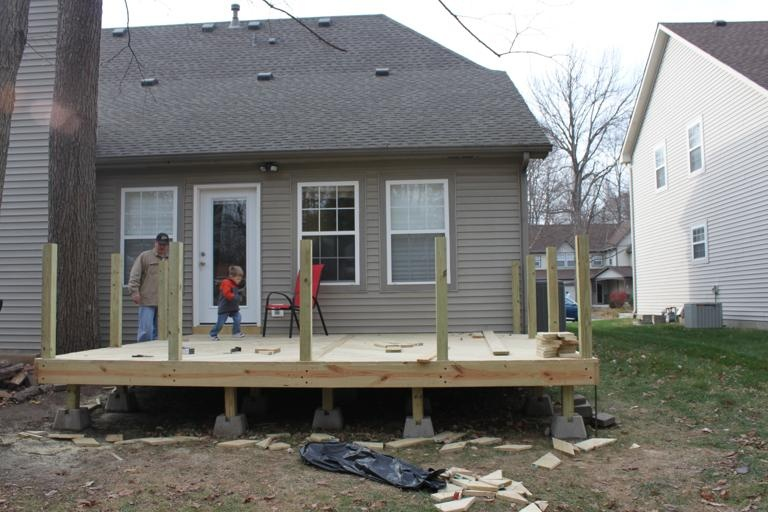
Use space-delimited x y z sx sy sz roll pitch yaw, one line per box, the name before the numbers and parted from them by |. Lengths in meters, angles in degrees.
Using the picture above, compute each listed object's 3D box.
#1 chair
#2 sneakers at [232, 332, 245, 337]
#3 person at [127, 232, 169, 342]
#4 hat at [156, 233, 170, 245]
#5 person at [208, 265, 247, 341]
chair | -1.671 0.830 13.055 0.823 1.227 1.010 -3 1 39
sneakers | -2.650 1.430 12.886 0.255 0.095 0.087 -1 4 -2
person | -4.134 0.584 12.535 0.700 1.962 1.339 -5 15 -17
hat | -3.941 -0.321 12.582 0.266 0.182 0.369 3 -5 -40
person | -2.856 0.810 12.804 0.589 1.443 1.195 -3 14 -11
